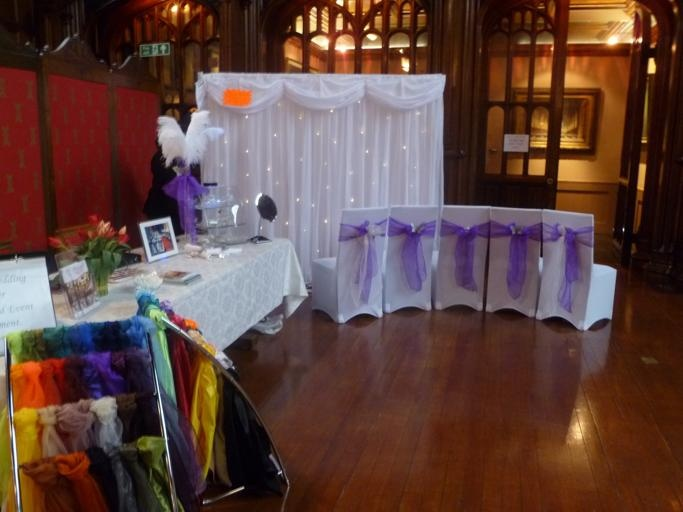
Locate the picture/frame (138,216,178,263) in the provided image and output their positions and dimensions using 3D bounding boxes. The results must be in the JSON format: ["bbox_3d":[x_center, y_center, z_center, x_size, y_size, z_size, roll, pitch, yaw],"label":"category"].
[{"bbox_3d":[-1.336,-0.122,3.617,0.029,0.394,0.417,-8,6,22],"label":"picture/frame"}]

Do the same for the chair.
[{"bbox_3d":[1.154,0.066,4.669,2.671,1.148,0.572,-1,11,5],"label":"chair"}]

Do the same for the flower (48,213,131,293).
[{"bbox_3d":[-1.393,0.013,2.707,0.344,0.439,0.444,6,14,34],"label":"flower"}]

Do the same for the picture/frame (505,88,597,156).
[{"bbox_3d":[3.547,-2.281,8.315,1.289,1.131,0.088,14,51,33],"label":"picture/frame"}]

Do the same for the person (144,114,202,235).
[{"bbox_3d":[-1.831,-0.789,5.274,0.680,0.619,1.419,-6,-6,-23],"label":"person"}]
